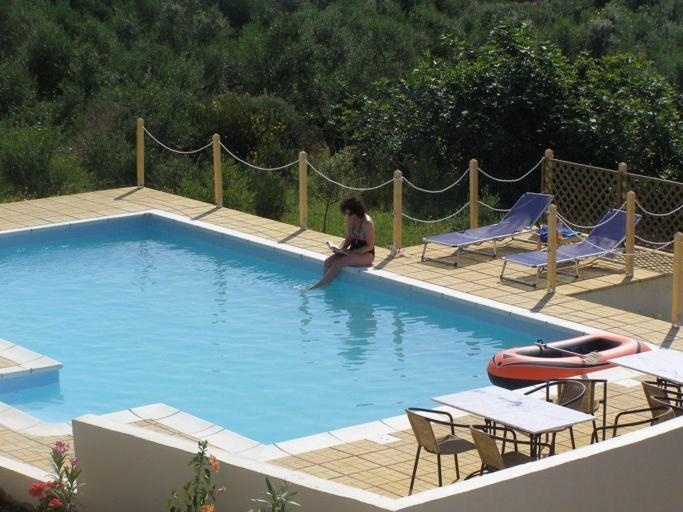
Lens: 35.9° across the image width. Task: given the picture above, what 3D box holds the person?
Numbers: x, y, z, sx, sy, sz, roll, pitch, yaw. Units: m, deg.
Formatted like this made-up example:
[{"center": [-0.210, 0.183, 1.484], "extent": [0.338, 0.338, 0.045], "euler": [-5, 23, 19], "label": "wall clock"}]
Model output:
[{"center": [-0.001, -0.154, 16.417], "extent": [1.258, 1.609, 0.625], "euler": [-11, 21, -37], "label": "person"}]

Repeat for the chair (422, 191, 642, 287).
[{"center": [3.398, -0.287, 16.131], "extent": [2.271, 1.260, 1.663], "euler": [-4, 11, -33], "label": "chair"}]

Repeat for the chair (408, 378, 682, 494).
[{"center": [1.576, 1.865, 10.710], "extent": [1.799, 1.030, 1.370], "euler": [3, 9, 5], "label": "chair"}]

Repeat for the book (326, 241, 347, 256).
[{"center": [-0.073, -0.129, 16.452], "extent": [0.259, 0.081, 0.195], "euler": [39, 4, 9], "label": "book"}]
